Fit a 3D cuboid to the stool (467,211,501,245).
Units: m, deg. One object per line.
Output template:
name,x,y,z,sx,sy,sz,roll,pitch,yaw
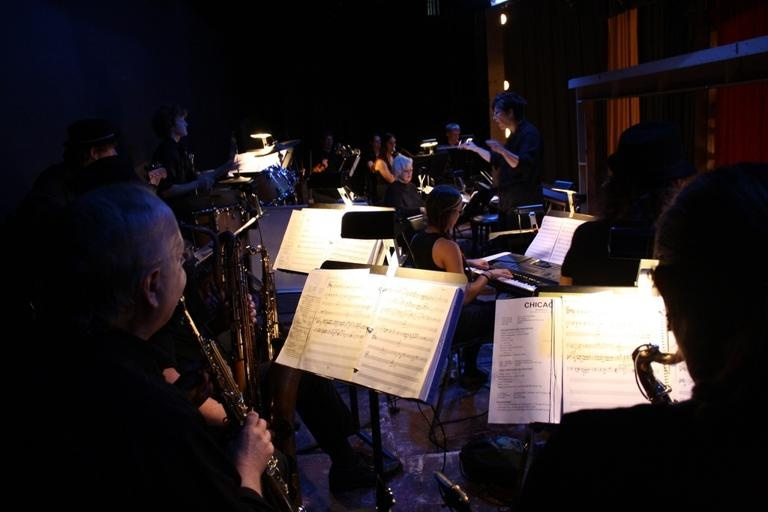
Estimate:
stool,1.387,-0.379,8.346,0.427,0.589,0.433,-8,9,-37
